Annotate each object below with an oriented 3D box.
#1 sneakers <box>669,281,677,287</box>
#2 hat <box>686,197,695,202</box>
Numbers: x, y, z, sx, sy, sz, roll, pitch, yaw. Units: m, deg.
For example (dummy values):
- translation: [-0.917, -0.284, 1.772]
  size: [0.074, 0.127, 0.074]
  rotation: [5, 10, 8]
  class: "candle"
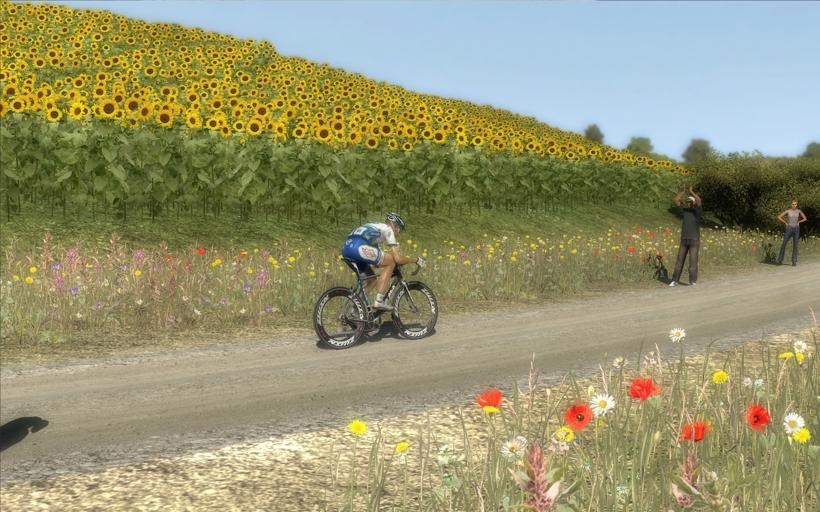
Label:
- translation: [7.334, 0.806, 22.001]
  size: [0.127, 0.129, 0.300]
  rotation: [-9, 0, 18]
  class: "sneakers"
- translation: [7.767, -1.555, 21.839]
  size: [0.146, 0.165, 0.342]
  rotation: [2, 13, 8]
  class: "hat"
